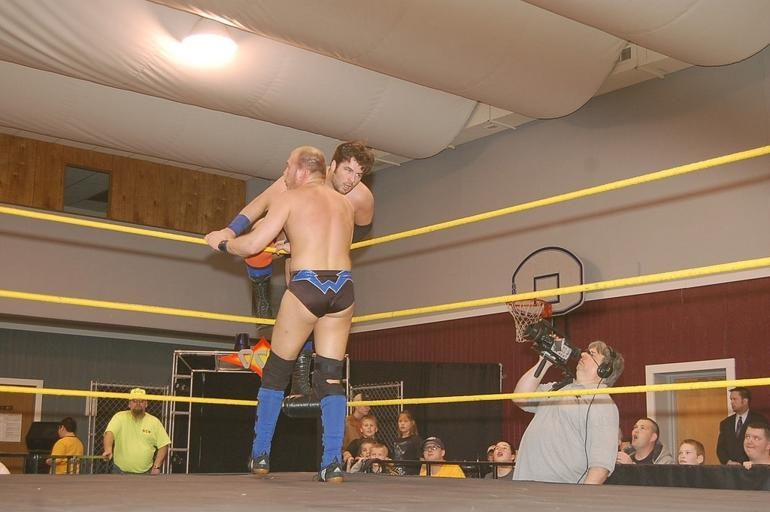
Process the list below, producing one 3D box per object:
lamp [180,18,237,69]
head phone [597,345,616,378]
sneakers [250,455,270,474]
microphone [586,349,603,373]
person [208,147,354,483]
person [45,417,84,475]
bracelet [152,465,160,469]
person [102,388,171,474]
[{"bbox_3d":[-1.765,-2.113,7.010,0.505,0.290,0.501,-2,-15,14],"label":"lamp"},{"bbox_3d":[1.626,0.777,5.147,0.088,0.185,0.219,23,-10,11],"label":"head phone"},{"bbox_3d":[-0.810,1.355,4.566,0.076,0.077,0.178,3,0,-16],"label":"sneakers"},{"bbox_3d":[1.547,0.762,5.133,0.141,0.041,0.106,24,12,-40],"label":"microphone"},{"bbox_3d":[-0.616,0.319,4.556,0.880,2.179,0.592,6,-16,-11],"label":"person"},{"bbox_3d":[-3.937,2.338,8.677,0.397,0.668,2.236,9,-16,-22],"label":"person"},{"bbox_3d":[-2.700,2.472,8.260,0.080,0.054,0.075,1,-9,-1],"label":"bracelet"},{"bbox_3d":[-2.918,2.069,8.324,0.717,0.954,0.344,6,-16,-15],"label":"person"}]
